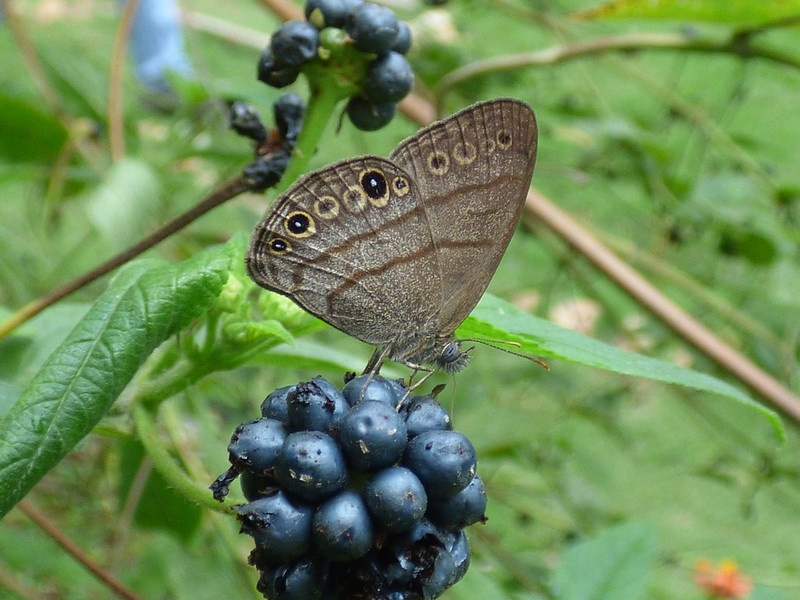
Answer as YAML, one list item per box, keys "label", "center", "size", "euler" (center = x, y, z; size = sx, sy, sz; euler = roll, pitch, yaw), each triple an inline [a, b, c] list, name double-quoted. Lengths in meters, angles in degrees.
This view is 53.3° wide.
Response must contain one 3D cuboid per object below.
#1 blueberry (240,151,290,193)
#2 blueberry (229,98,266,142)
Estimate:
- label: "blueberry"
  center: [-0.395, -0.376, 2.347]
  size: [0.157, 0.046, 0.093]
  euler: [-29, 101, -24]
- label: "blueberry"
  center: [-0.471, -0.531, 2.428]
  size: [0.106, 0.050, 0.129]
  euler: [4, 41, -44]
